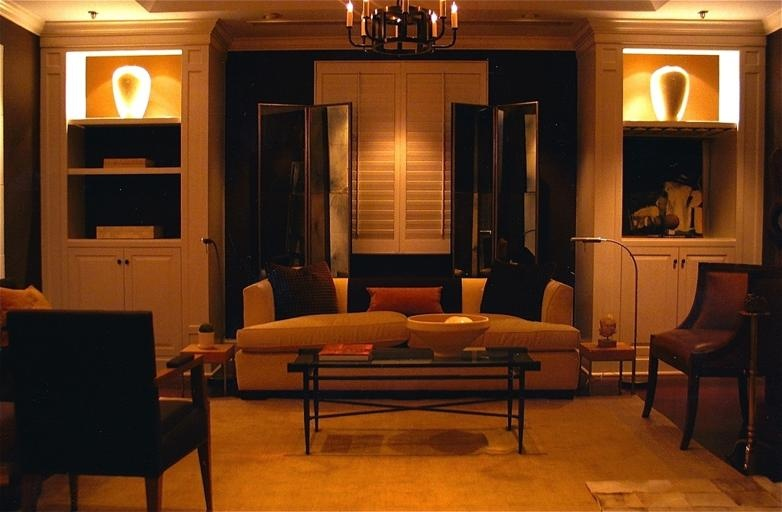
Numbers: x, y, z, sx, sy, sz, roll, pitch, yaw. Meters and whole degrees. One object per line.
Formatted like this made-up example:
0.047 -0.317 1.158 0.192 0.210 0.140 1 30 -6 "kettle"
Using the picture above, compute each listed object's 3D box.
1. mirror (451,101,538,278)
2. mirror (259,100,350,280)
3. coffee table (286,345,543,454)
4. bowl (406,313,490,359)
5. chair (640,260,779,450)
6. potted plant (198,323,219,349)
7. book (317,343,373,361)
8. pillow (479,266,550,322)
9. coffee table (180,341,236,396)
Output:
1.067 -0.685 7.592 0.878 1.786 0.297 0 6 4 "mirror"
-0.910 -0.681 7.604 1.006 1.789 0.167 0 6 7 "mirror"
0.186 1.109 6.166 1.945 0.827 0.936 -1 6 0 "coffee table"
0.500 0.635 5.982 0.617 0.288 0.597 -1 7 0 "bowl"
2.686 0.793 6.169 0.981 1.408 0.821 -3 7 -16 "chair"
-1.689 0.754 6.834 0.209 0.284 0.210 0 3 0 "potted plant"
-0.364 0.777 5.840 0.403 0.080 0.186 0 7 2 "book"
1.173 0.346 7.016 0.550 0.530 0.168 8 -5 31 "pillow"
-1.611 1.009 6.448 0.336 0.382 0.590 0 3 -1 "coffee table"
